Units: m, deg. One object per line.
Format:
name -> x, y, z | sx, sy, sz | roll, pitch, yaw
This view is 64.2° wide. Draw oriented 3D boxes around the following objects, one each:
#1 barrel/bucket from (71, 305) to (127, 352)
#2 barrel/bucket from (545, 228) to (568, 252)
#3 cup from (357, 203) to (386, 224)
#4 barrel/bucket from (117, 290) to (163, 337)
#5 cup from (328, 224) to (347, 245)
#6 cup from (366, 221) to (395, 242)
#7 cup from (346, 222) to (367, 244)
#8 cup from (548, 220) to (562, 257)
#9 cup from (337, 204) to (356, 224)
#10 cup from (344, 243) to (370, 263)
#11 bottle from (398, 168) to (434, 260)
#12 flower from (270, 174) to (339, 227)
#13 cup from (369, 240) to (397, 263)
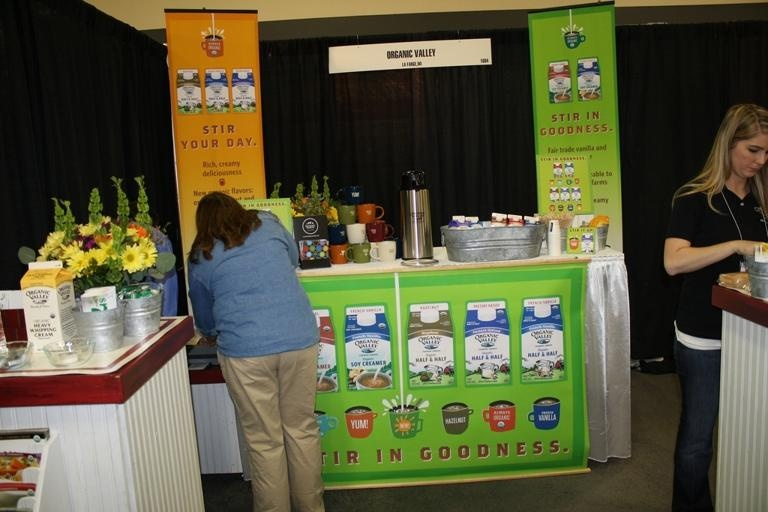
barrel/bucket -> -1.374, 0.349, 3.040 | 0.262, 0.193, 0.234 | -6, 4, 24
barrel/bucket -> 1.138, -0.108, 4.036 | 0.150, 0.141, 0.148 | 0, 7, 0
cup -> -0.063, -0.290, 4.160 | 0.218, 0.147, 0.137 | -2, 3, -20
barrel/bucket -> -1.272, 0.300, 3.153 | 0.244, 0.178, 0.214 | -9, 2, -30
cup -> -0.298, -0.145, 4.014 | 0.136, 0.133, 0.065 | -8, 8, -28
cup -> -0.028, -0.169, 4.165 | 0.127, 0.138, 0.202 | -3, 1, 44
cup -> -0.175, -0.149, 4.025 | 0.137, 0.134, 0.112 | -6, 8, -10
cup -> 1.113, -0.116, 3.942 | 0.097, 0.233, 0.062 | -6, 7, -14
cup -> -0.245, -0.271, 4.032 | 0.121, 0.091, 0.109 | 0, 1, 2
cup -> -0.174, -0.019, 3.984 | 0.161, 0.116, 0.099 | -1, 6, -9
bottle -> 0.206, -0.260, 3.980 | 0.199, 0.569, 0.151 | -4, 7, 0
flower -> -0.500, -0.375, 4.226 | 0.424, 0.255, 0.411 | -1, 9, 20
cup -> 0.009, -0.032, 4.031 | 0.198, 0.134, 0.130 | -6, 8, -13
